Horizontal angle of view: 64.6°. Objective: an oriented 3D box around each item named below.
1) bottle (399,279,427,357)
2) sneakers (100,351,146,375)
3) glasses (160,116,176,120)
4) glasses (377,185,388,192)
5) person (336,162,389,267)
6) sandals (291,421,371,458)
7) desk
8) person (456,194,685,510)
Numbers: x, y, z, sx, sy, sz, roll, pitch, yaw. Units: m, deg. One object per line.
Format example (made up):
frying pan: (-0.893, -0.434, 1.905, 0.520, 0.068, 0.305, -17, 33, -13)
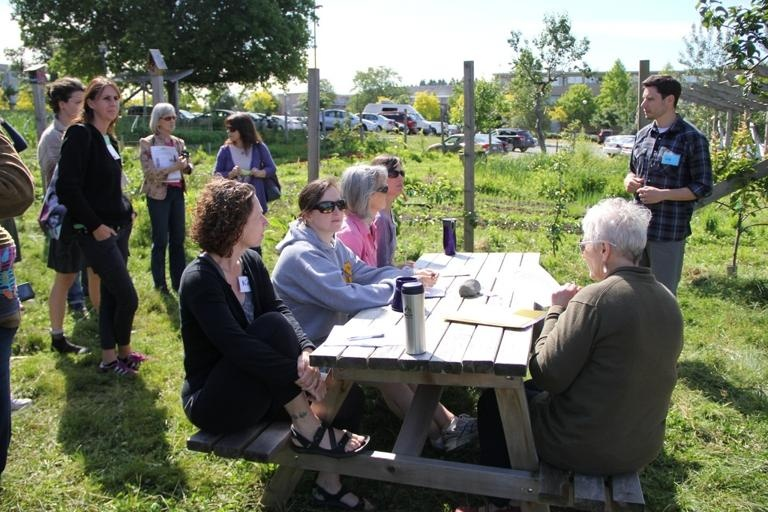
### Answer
bottle: (0.177, 0.371, 3.606, 0.134, 0.426, 0.104, 0, 12, 2)
sneakers: (-2.282, 0.944, 5.363, 0.408, 0.194, 0.152, -3, 11, -19)
glasses: (-2.349, -1.526, 6.705, 0.105, 0.051, 0.231, 2, 12, 12)
glasses: (-0.010, -0.570, 5.112, 0.065, 0.041, 0.053, 8, 22, 10)
person: (-0.181, -0.324, 5.016, 0.339, 0.778, 0.645, -2, 20, 3)
sandals: (-0.345, 1.166, 3.799, 0.399, 0.167, 0.224, 3, 12, 4)
desk: (0.296, 0.162, 3.860, 1.198, 0.729, 2.529, 0, 9, 13)
person: (1.322, 0.494, 3.682, 0.866, 1.560, 0.536, 2, 12, 13)
